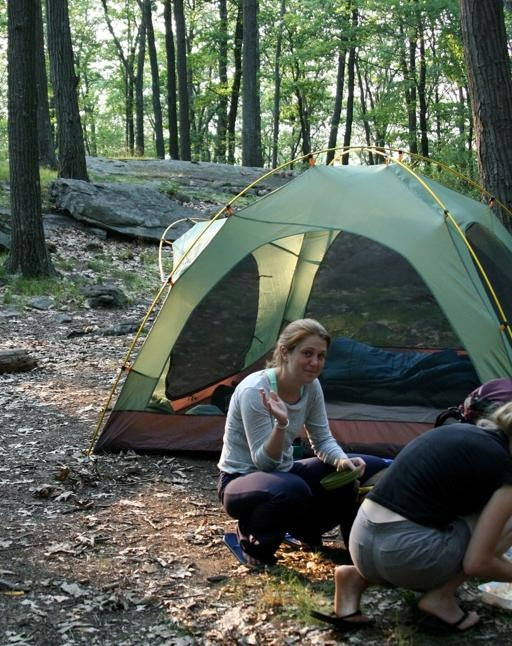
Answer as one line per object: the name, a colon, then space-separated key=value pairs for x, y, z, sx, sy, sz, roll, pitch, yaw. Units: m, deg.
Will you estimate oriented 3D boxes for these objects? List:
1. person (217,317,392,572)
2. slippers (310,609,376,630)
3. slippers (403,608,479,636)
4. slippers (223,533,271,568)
person: x=0.166 y=0.585 z=3.059 sx=0.906 sy=1.006 sz=0.845 roll=0 pitch=0 yaw=26
slippers: x=0.345 y=1.137 z=2.429 sx=0.292 sy=0.064 sz=0.084 roll=6 pitch=3 yaw=-6
slippers: x=0.704 y=1.134 z=2.408 sx=0.187 sy=0.036 sz=0.098 roll=3 pitch=-13 yaw=20
slippers: x=-0.041 y=1.141 z=3.191 sx=0.099 sy=0.099 sz=0.302 roll=1 pitch=3 yaw=-34
